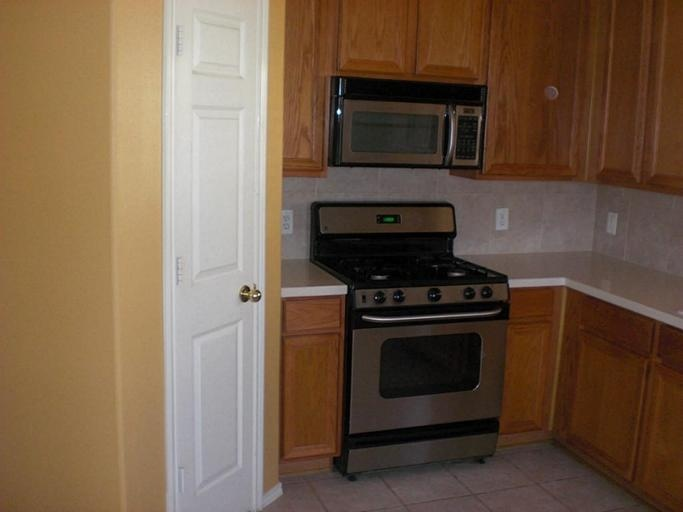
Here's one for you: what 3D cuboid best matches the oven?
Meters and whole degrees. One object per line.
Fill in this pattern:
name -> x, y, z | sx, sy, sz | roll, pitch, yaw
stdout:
oven -> 0.411, 0.642, 3.449 | 1.008, 1.075, 0.721 | -1, 3, -16
